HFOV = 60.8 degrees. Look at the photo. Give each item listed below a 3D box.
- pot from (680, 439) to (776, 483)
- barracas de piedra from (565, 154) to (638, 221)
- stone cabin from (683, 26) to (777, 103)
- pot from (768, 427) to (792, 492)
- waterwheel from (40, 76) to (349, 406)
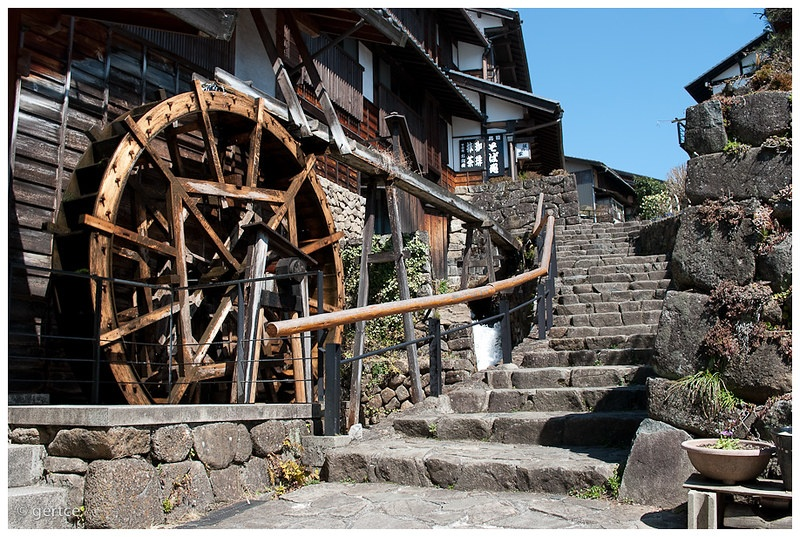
[{"bbox_3d":[2.349,1.385,4.873,0.592,0.303,0.276,-3,-5,24],"label":"pot"},{"bbox_3d":[7.028,-2.770,24.203,1.950,1.452,4.462,2,6,26],"label":"barracas de piedra"},{"bbox_3d":[9.130,-5.051,18.489,2.042,0.864,2.439,1,5,32],"label":"stone cabin"},{"bbox_3d":[2.675,1.330,4.755,0.117,0.415,0.167,-3,-5,29],"label":"pot"},{"bbox_3d":[-2.441,0.055,9.362,1.016,4.740,4.512,-6,-3,37],"label":"waterwheel"}]
